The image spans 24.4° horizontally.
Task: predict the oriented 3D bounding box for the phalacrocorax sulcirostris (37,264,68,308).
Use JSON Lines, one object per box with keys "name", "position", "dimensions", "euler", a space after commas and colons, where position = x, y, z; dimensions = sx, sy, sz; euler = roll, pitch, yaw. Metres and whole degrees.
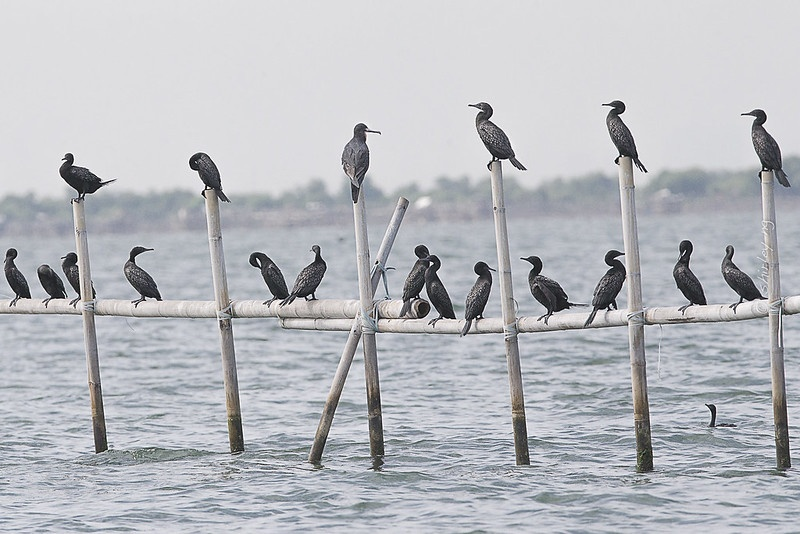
{"name": "phalacrocorax sulcirostris", "position": [-8.787, 0.431, 46.915], "dimensions": [0.609, 0.900, 1.401], "euler": [-6, 11, -12]}
